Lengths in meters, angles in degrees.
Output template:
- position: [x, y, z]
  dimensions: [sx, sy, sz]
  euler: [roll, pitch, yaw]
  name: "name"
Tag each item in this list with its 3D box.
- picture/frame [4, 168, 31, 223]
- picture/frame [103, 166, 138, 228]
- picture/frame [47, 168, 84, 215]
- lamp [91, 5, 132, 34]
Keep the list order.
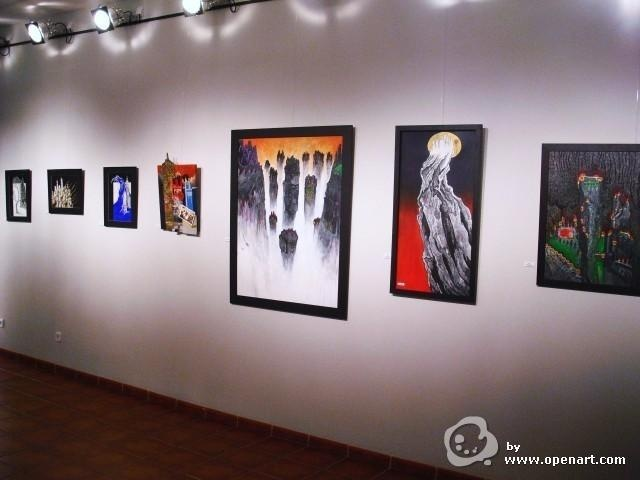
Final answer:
- position: [-4.283, -0.656, 7.018]
  dimensions: [0.616, 0.951, 0.047]
  euler: [4, 5, 28]
  name: "picture/frame"
- position: [-2.485, -0.540, 6.171]
  dimensions: [0.558, 0.740, 0.104]
  euler: [5, 10, 26]
  name: "picture/frame"
- position: [-3.367, -0.663, 6.564]
  dimensions: [0.511, 0.602, 0.019]
  euler: [4, 5, 27]
  name: "picture/frame"
- position: [-2.539, -2.649, 5.982]
  dimensions: [0.242, 0.279, 0.473]
  euler: [5, 19, -3]
  name: "lamp"
